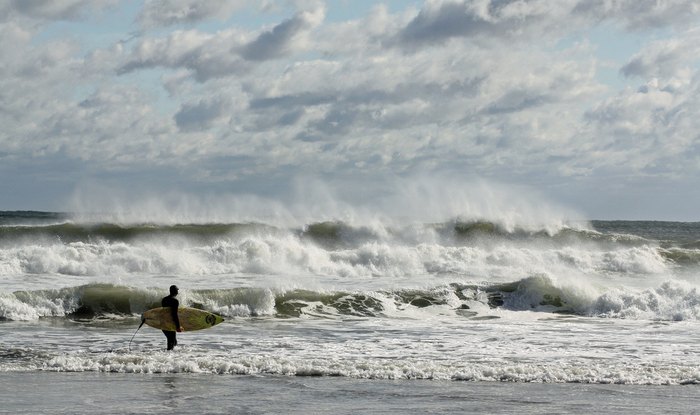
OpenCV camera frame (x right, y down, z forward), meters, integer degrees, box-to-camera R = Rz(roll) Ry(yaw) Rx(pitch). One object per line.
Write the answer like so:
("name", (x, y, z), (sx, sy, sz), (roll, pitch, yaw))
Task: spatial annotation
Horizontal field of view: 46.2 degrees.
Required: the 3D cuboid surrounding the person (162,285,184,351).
("person", (-5.250, 3.152, 24.201), (0.514, 1.770, 1.300), (-1, 13, -12))
